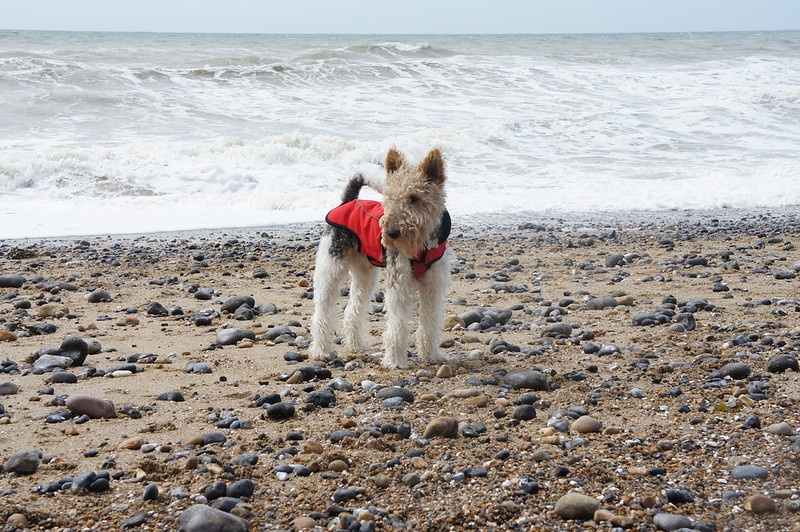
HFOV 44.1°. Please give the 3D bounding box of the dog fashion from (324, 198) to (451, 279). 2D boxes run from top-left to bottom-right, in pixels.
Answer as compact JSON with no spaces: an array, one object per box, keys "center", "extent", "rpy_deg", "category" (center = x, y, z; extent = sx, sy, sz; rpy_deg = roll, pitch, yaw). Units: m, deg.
[{"center":[-0.176,-0.510,16.647],"extent":[2.213,0.620,1.284],"rpy_deg":[15,13,15],"category":"dog fashion"}]
